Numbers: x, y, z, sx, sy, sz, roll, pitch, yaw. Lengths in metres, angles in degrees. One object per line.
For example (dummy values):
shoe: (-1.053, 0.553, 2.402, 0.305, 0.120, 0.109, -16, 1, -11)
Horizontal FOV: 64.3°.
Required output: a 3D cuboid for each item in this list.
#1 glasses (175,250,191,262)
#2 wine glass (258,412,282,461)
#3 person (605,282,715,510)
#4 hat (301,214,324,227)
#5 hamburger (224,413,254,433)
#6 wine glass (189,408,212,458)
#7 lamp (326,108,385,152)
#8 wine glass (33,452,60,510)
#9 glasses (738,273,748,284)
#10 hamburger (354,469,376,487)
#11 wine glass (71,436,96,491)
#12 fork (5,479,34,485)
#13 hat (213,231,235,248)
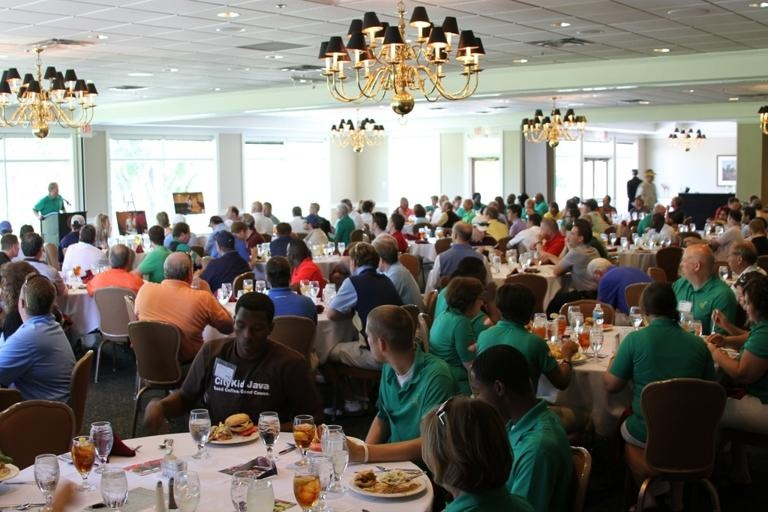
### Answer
glasses: (-1.981, -0.001, 6.036, 0.140, 0.113, 0.143, 19, 2, 5)
wine glass: (-0.591, 0.914, 3.169, 0.093, 0.261, 0.275, -2, 5, -10)
person: (1.811, 0.835, 4.055, 0.606, 1.316, 0.496, -4, 6, -28)
hat: (-1.398, -0.734, 12.643, 0.305, 0.182, 0.480, 6, 4, -28)
hamburger: (-0.797, 0.911, 3.387, 0.099, 0.062, 0.102, 5, 6, 43)
wine glass: (-0.958, 0.907, 3.192, 0.091, 0.261, 0.260, -3, 6, -19)
lamp: (-0.756, -3.697, 17.869, 1.391, 1.469, 1.464, 1, -3, -42)
wine glass: (-1.546, 1.011, 2.805, 0.090, 0.244, 0.207, -4, 6, -32)
glasses: (3.079, 0.195, 5.249, 0.026, 0.074, 0.055, 27, -19, -17)
hamburger: (-0.088, 1.069, 2.944, 0.060, 0.021, 0.063, 3, 11, 14)
wine glass: (-1.442, 0.968, 2.948, 0.098, 0.261, 0.262, -4, 6, -26)
fork: (-1.770, 1.099, 2.966, 0.099, 0.011, 0.018, 2, 20, -9)
hat: (-2.070, -0.220, 7.955, 0.133, 0.196, 0.308, -16, 3, -4)
